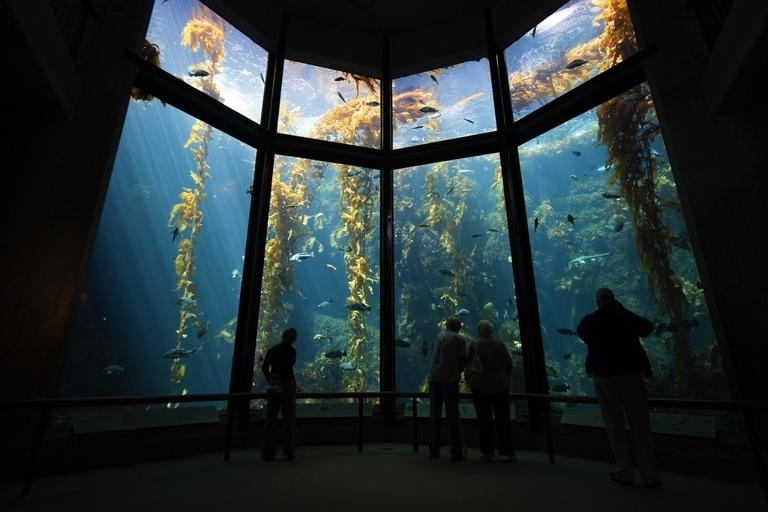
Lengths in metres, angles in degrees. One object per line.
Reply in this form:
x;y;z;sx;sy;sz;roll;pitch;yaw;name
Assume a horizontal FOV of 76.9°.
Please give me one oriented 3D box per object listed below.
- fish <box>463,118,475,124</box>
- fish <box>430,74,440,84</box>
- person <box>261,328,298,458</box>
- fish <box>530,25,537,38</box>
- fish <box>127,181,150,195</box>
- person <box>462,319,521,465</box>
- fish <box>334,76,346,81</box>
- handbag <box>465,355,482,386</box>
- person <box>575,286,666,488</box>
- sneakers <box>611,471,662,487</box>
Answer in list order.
1.527;-2.419;8.674;0.059;0.067;0.242;48;0;-41;fish
0.963;-3.345;9.150;0.086;0.223;0.073;-21;-5;7;fish
-1.452;1.906;6.666;0.460;1.724;0.373;1;-3;-11;person
2.612;-3.889;8.400;0.072;0.231;0.050;3;3;15;fish
-7.812;-2.127;15.425;0.539;0.387;0.415;1;-2;-27;fish
1.414;1.818;6.483;0.634;1.805;0.398;0;-3;10;person
-0.842;-3.333;9.124;0.243;0.088;0.070;-1;13;-11;fish
1.227;1.562;6.519;0.278;0.357;0.144;12;0;44;handbag
2.722;1.494;5.595;0.768;2.206;0.399;-1;-3;21;person
2.804;2.508;5.377;0.483;0.121;0.203;-11;-17;17;sneakers
